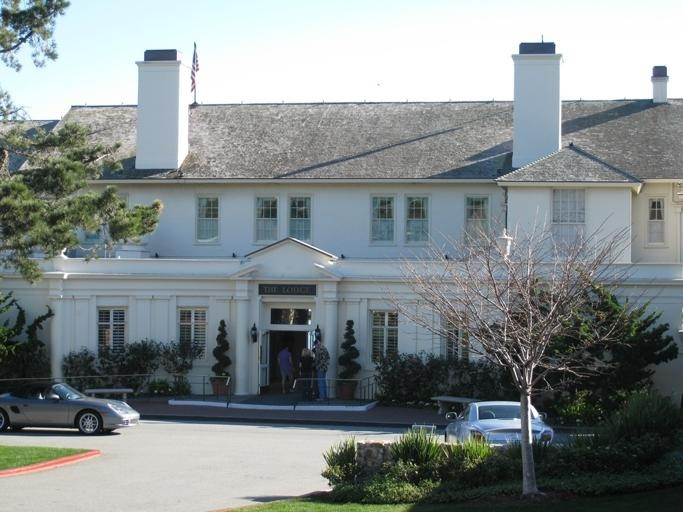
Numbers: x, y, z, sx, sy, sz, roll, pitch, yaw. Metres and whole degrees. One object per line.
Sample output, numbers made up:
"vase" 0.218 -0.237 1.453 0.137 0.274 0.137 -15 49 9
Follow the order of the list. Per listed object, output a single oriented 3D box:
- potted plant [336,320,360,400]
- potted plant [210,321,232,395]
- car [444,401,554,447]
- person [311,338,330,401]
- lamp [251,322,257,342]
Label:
"potted plant" 0.344 4.249 60.243 0.972 3.235 1.294 0 -8 0
"potted plant" -4.866 4.214 61.007 0.953 2.867 0.940 4 9 13
"car" 5.082 5.353 47.618 2.589 1.447 4.669 5 -9 -29
"person" -0.733 4.597 59.563 0.650 2.399 1.376 0 -8 -1
"lamp" -3.503 3.153 61.091 0.239 0.832 0.301 8 -11 -44
